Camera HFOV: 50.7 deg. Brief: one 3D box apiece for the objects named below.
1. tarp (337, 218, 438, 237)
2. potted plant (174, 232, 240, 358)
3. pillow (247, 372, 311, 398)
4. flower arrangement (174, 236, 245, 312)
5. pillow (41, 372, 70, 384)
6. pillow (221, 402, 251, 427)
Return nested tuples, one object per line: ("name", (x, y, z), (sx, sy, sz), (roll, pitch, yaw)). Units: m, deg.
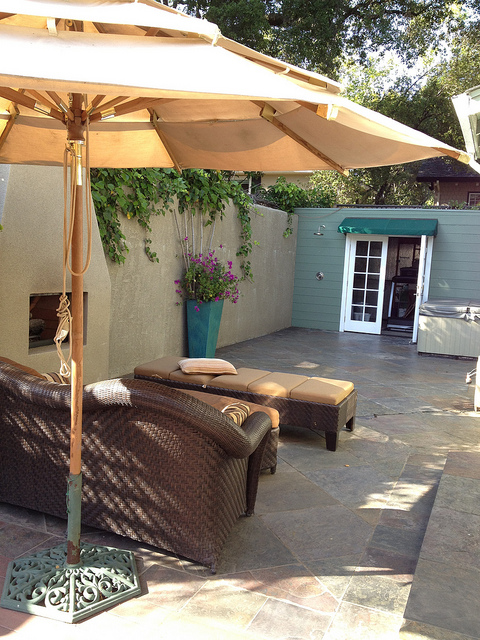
("tarp", (3.165, -2.285, 10.951), (2.642, 0.460, 0.515), (5, 14, 23))
("potted plant", (-0.433, -0.419, 7.170), (0.937, 1.475, 0.873), (1, 10, -12))
("pillow", (0.314, 0.495, 4.063), (0.443, 0.125, 0.415), (-4, 12, -33))
("flower arrangement", (-0.291, -0.489, 7.163), (0.569, 0.671, 0.689), (10, 1, 25))
("pillow", (-1.069, 0.334, 2.971), (0.197, 0.054, 0.138), (2, 3, -19))
("pillow", (-0.028, 0.475, 2.534), (0.147, 0.042, 0.139), (2, 15, 6))
